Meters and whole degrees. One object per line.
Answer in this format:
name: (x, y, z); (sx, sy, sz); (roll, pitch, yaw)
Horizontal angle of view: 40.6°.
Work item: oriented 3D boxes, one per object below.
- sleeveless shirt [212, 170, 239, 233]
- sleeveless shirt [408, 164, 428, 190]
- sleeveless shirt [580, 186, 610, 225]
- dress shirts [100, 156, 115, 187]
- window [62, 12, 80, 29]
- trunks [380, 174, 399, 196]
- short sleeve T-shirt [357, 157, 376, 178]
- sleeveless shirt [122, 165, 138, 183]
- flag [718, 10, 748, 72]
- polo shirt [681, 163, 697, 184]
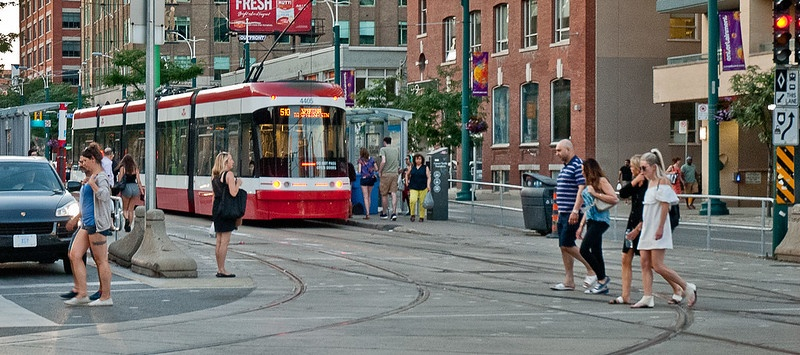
sleeveless shirt: (-6.718, 0.777, 41.956); (0.865, 2.141, 0.966); (-19, 22, -35)
sleeveless shirt: (1.180, -0.071, 52.338); (0.725, 1.054, 0.899); (-3, 7, -36)
sleeveless shirt: (7.363, 1.016, 40.292); (1.448, 1.502, 0.886); (-5, 4, 26)
dress shirts: (-11.959, -0.250, 44.247); (0.836, 1.199, 1.312); (-9, 7, -12)
window: (-40.555, -19.332, 133.423); (2.388, 1.755, 0.168); (0, -2, -10)
trunks: (-0.498, 0.279, 52.933); (1.158, 0.980, 0.615); (2, 6, -9)
short sleeve T-shirt: (-1.566, -0.506, 52.982); (1.115, 0.956, 0.631); (1, -7, -17)
sleeveless shirt: (-12.228, -0.201, 48.961); (0.855, 0.703, 0.432); (0, 7, -9)
flag: (17.906, -7.352, 58.004); (1.311, 3.181, 1.103); (0, 2, 16)
polo shirt: (16.655, -0.228, 62.085); (1.324, 1.086, 0.688); (-1, -5, -6)
